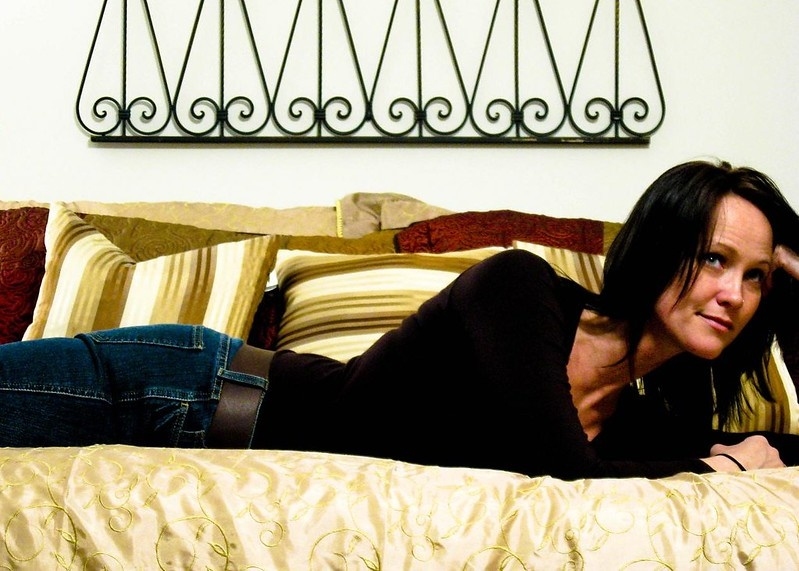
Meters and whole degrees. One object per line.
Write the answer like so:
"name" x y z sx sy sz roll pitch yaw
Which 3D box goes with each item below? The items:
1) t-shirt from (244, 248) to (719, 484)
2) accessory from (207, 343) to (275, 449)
"t-shirt" 0.147 0.277 1.642 0.905 0.338 0.465 -13 -28 35
"accessory" -0.360 0.247 1.724 0.081 0.188 0.134 16 -15 -15
